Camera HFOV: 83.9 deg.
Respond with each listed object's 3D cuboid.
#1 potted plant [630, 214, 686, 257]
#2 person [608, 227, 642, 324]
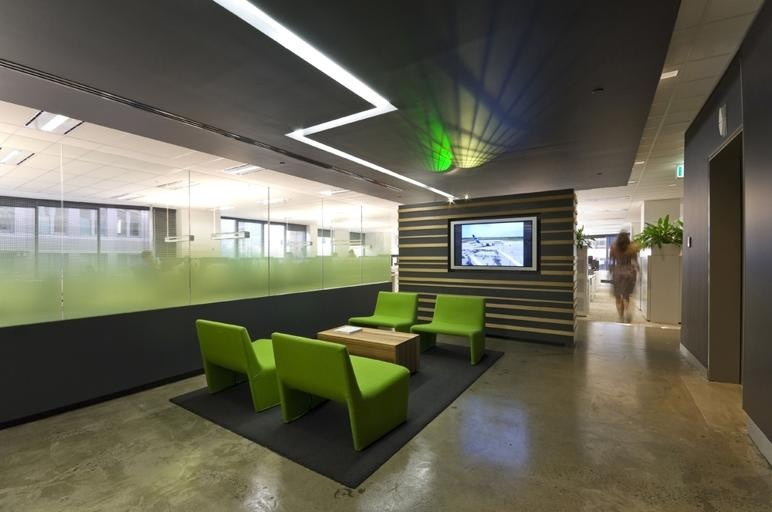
[{"bbox_3d":[6.025,-0.450,9.277,1.129,0.650,1.026,-7,5,-25],"label":"potted plant"},{"bbox_3d":[5.345,0.432,9.640,0.594,2.204,1.405,8,17,30],"label":"person"}]
